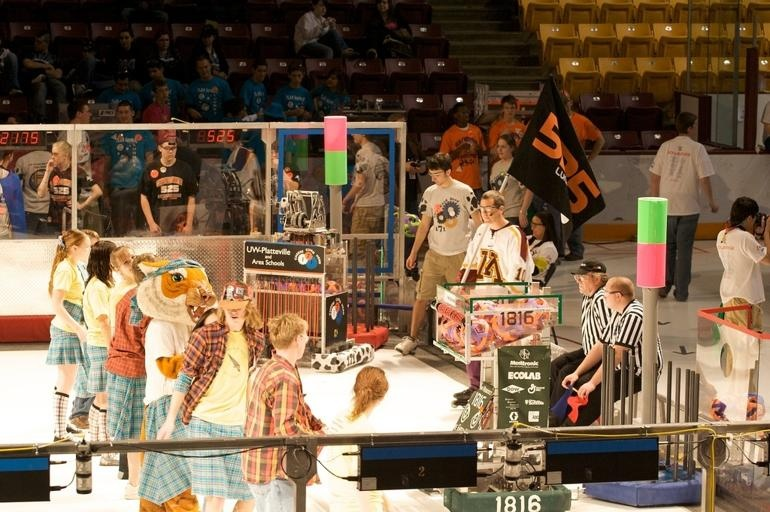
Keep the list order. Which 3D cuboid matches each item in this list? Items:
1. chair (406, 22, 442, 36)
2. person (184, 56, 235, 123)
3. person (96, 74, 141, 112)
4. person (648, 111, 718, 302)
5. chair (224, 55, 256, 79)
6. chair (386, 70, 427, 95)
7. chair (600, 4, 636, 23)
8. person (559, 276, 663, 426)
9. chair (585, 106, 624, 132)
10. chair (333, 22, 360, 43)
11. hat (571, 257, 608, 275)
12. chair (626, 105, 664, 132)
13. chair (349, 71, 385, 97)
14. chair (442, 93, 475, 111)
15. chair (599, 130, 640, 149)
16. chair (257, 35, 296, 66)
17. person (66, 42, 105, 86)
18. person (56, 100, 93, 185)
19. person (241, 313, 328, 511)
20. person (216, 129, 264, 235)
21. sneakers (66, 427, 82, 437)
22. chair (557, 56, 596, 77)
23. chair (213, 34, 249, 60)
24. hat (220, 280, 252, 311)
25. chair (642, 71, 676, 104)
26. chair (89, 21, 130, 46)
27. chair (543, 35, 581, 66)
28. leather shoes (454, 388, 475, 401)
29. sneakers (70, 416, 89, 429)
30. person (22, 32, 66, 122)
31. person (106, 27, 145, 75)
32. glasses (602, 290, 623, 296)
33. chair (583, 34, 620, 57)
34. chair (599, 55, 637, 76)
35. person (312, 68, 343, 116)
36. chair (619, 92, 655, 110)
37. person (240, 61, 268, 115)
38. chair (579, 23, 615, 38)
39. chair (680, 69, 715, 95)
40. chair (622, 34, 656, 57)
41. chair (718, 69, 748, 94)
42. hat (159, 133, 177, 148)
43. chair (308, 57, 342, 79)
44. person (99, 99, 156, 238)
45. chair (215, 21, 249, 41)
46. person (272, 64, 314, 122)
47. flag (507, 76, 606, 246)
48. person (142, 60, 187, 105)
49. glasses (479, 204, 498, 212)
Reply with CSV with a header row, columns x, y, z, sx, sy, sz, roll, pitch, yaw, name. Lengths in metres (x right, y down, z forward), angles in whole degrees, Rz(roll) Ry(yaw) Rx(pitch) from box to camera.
x,y,z,sx,sy,sz,roll,pitch,yaw,name
0.771,-4.222,21.066,0.592,0.282,0.272,-1,-3,-3,chair
-2.755,-2.637,17.740,0.708,1.071,0.281,0,-3,-12,person
-4.108,-2.501,17.556,0.809,0.736,0.431,-5,23,-30,person
4.216,-0.682,15.993,0.882,2.652,0.690,-2,-3,30,person
-2.520,-3.302,19.714,0.587,0.397,0.342,3,49,-3,chair
0.404,-3.041,19.848,0.450,0.563,0.502,0,2,-5,chair
4.725,-4.943,22.846,0.453,0.593,0.529,-1,8,-2,chair
2.327,0.950,11.257,0.716,1.475,1.071,1,-3,-28,person
3.922,-2.440,20.080,0.452,0.599,0.537,0,7,-1,chair
-0.698,-4.089,20.677,0.371,0.187,0.482,3,28,-3,chair
2.155,0.119,11.711,0.305,0.113,0.212,0,2,-4,hat
4.623,-2.466,20.088,0.499,0.539,0.507,0,6,1,chair
-0.310,-2.994,19.632,0.504,0.590,0.526,4,28,2,chair
1.276,-2.745,19.839,0.411,0.494,0.354,3,9,16,chair
4.097,-1.998,19.492,0.436,0.498,0.465,1,4,-3,chair
-1.978,-3.728,20.419,0.528,0.672,0.593,-1,33,-13,chair
-5.000,-3.231,18.880,0.443,0.843,0.522,2,-4,-42,person
-4.213,-1.636,15.428,0.416,1.389,2.393,0,-3,-15,person
-0.868,1.324,9.419,0.681,1.670,0.500,-1,-3,-2,person
-1.822,-0.969,14.647,0.513,1.304,0.278,0,-3,-9,person
-3.277,1.857,11.927,0.207,0.069,0.081,22,-17,-16,sneakers
3.620,-3.602,21.253,0.463,0.554,0.480,0,16,0,chair
-2.710,-3.774,20.107,0.515,0.519,0.550,2,41,-1,chair
-1.251,0.338,9.676,0.287,0.214,0.472,3,-3,2,hat
5.154,-3.180,21.172,0.685,0.732,0.533,2,8,0,chair
-4.915,-3.920,20.159,0.604,0.731,0.531,3,13,9,chair
3.371,-3.954,21.657,0.525,0.658,0.607,0,40,-1,chair
0.891,1.549,12.679,0.274,0.114,0.096,-10,16,-18,leather shoes
-3.161,1.733,11.773,0.149,0.088,0.195,2,3,-3,sneakers
-5.717,-3.021,18.986,0.660,1.664,1.112,0,-3,-22,person
-4.297,-3.228,18.829,0.605,1.076,0.507,0,9,-32,person
2.278,0.369,11.285,0.190,0.055,0.073,-3,-4,39,glasses
4.191,-4.065,21.845,0.463,0.592,0.484,0,5,0,chair
4.413,-3.633,21.445,0.451,0.570,0.471,0,17,3,chair
-0.895,-2.583,18.087,0.485,0.790,0.681,0,-3,-3,person
4.590,-2.848,20.559,0.399,0.527,0.423,-1,8,0,chair
-2.091,-2.636,17.990,0.404,0.897,0.737,0,-3,-8,person
4.143,-4.474,22.320,0.546,0.514,0.446,0,12,1,chair
5.676,-3.142,20.305,0.378,0.302,0.485,-1,4,-3,chair
4.976,-4.110,22.075,0.472,0.476,0.623,2,-27,7,chair
6.020,-2.999,19.464,0.394,0.419,0.386,1,-2,9,chair
-2.775,-1.477,14.399,0.189,0.181,0.185,8,10,39,hat
-1.034,-3.348,19.471,0.536,0.676,0.561,0,7,-6,chair
-3.303,-0.935,14.626,0.698,2.279,0.427,-3,31,-14,person
-2.788,-4.136,20.586,0.414,0.546,0.447,0,10,-3,chair
-1.392,-2.471,17.590,0.712,1.048,0.635,0,5,-16,person
1.814,-1.099,11.930,0.955,1.601,0.437,-1,-3,6,flag
-3.540,-2.748,18.013,0.786,0.775,0.423,-8,9,8,person
1.156,-0.531,12.539,0.210,0.068,0.078,-2,-3,29,glasses
